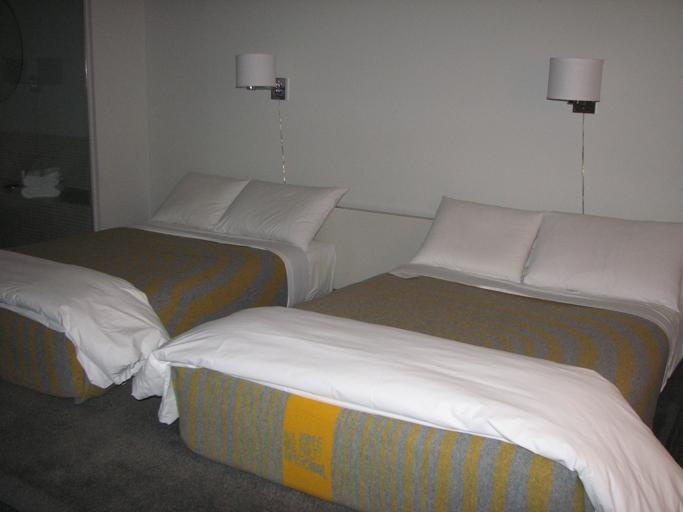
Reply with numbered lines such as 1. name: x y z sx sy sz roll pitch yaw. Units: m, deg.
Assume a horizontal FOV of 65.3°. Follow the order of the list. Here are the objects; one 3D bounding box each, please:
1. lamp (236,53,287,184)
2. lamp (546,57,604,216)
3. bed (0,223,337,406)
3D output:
1. lamp: -0.618 -0.935 4.532 0.261 1.389 0.423 9 11 39
2. lamp: 1.502 -0.802 3.557 0.276 0.994 0.396 16 15 42
3. bed: -1.042 0.140 3.101 0.987 0.329 1.269 10 14 33
